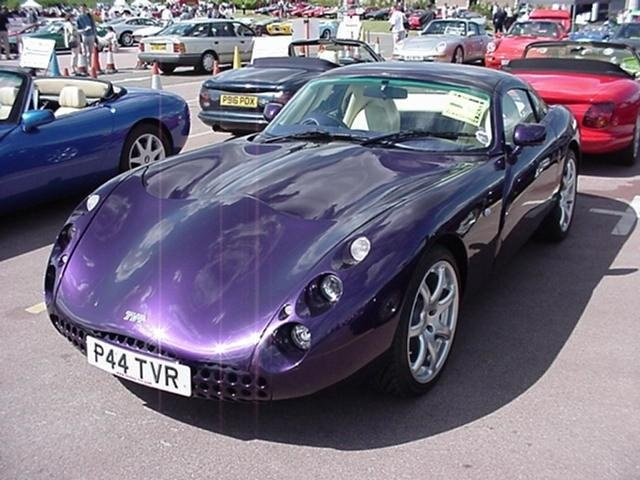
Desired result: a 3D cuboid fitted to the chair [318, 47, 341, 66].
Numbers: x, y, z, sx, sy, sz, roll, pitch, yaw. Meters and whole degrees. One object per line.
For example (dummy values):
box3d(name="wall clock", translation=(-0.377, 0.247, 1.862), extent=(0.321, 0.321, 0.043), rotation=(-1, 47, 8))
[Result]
box3d(name="chair", translation=(0.217, -4.010, 10.025), extent=(0.410, 0.240, 0.781), rotation=(-14, 34, -19))

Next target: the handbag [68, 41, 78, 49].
box3d(name="handbag", translation=(-8.274, -6.496, 15.603), extent=(0.224, 0.188, 0.235), rotation=(4, 16, 28))

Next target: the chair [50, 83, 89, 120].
box3d(name="chair", translation=(-3.077, -1.693, 5.759), extent=(0.269, 0.300, 0.216), rotation=(-4, 19, -40))

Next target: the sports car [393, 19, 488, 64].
box3d(name="sports car", translation=(4.819, -8.009, 18.535), extent=(1.869, 1.839, 5.289), rotation=(16, 24, 36))
